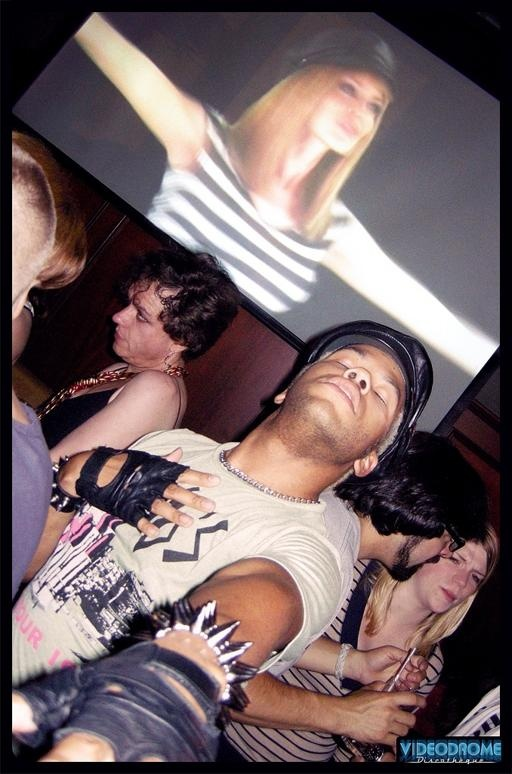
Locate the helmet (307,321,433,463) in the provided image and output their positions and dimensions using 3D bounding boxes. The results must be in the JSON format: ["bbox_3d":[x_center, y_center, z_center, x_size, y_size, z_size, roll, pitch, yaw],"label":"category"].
[{"bbox_3d":[0.351,0.073,1.819,0.347,0.437,0.164,25,-16,11],"label":"helmet"}]

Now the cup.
[{"bbox_3d":[0.344,0.897,1.568,0.147,0.206,0.078,35,-7,29],"label":"cup"}]
